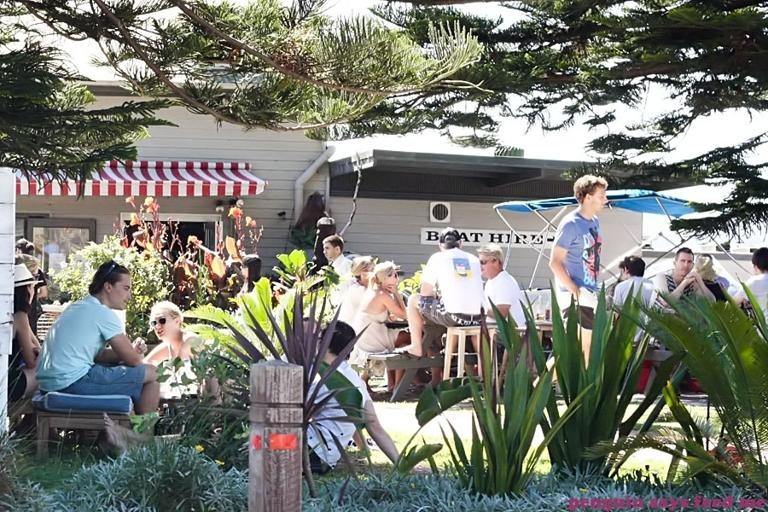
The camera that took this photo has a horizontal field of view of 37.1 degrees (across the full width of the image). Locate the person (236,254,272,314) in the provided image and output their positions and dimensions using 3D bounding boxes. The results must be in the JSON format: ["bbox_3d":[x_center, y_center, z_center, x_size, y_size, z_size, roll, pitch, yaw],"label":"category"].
[{"bbox_3d":[-1.507,0.387,12.663,0.358,0.668,0.721,7,3,6],"label":"person"}]

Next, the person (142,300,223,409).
[{"bbox_3d":[-1.661,0.854,9.582,0.580,1.071,0.591,19,-43,-40],"label":"person"}]

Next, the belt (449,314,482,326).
[{"bbox_3d":[0.809,0.649,11.413,0.209,0.083,0.167,-1,1,4],"label":"belt"}]

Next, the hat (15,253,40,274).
[{"bbox_3d":[-3.288,0.080,10.476,0.217,0.223,0.170,-9,-1,28],"label":"hat"}]

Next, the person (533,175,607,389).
[{"bbox_3d":[1.819,0.102,10.747,0.517,1.761,0.493,1,-2,6],"label":"person"}]

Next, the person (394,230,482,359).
[{"bbox_3d":[0.691,0.389,11.932,0.906,1.341,0.909,-2,-2,35],"label":"person"}]

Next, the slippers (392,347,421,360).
[{"bbox_3d":[0.213,1.000,11.605,0.292,0.105,0.112,11,-1,19],"label":"slippers"}]
